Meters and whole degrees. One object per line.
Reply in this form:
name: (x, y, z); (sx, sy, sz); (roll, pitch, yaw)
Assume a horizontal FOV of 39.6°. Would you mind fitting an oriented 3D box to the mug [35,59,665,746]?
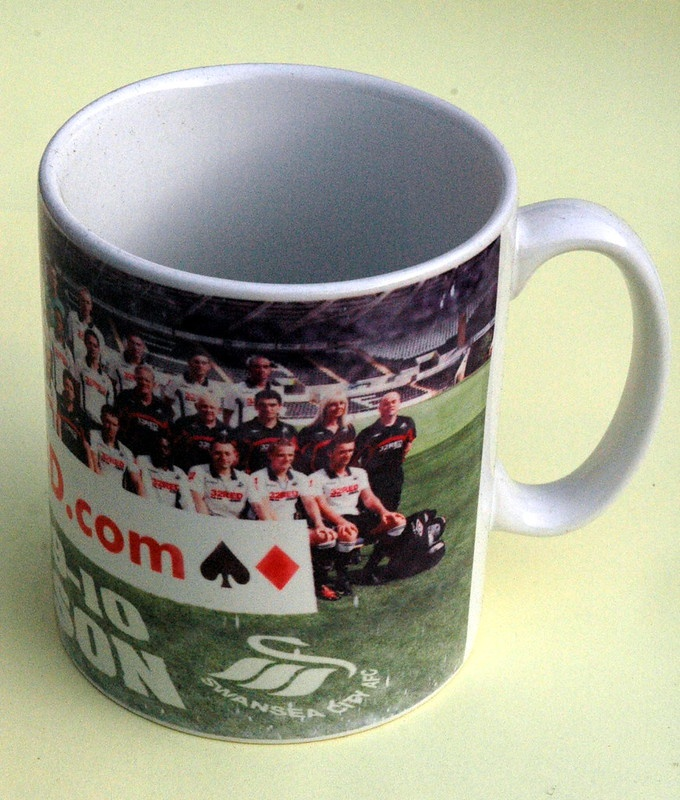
mug: (0.046, -0.038, 0.675); (0.487, 0.397, 0.307); (-2, 38, -17)
